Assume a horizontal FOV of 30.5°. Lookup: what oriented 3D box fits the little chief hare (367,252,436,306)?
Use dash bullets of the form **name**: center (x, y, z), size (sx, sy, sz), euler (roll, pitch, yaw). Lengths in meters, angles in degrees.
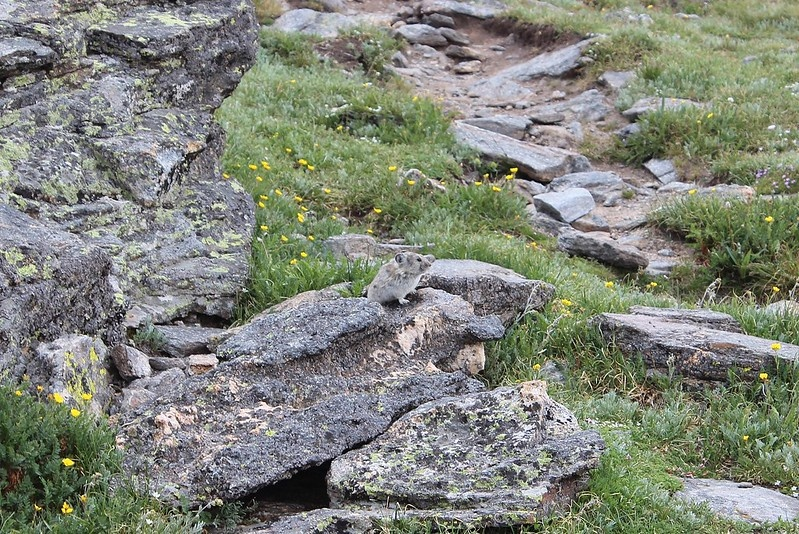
- **little chief hare**: center (0.008, 0.169, 21.476), size (1.054, 0.747, 0.627), euler (-5, 2, 32)
